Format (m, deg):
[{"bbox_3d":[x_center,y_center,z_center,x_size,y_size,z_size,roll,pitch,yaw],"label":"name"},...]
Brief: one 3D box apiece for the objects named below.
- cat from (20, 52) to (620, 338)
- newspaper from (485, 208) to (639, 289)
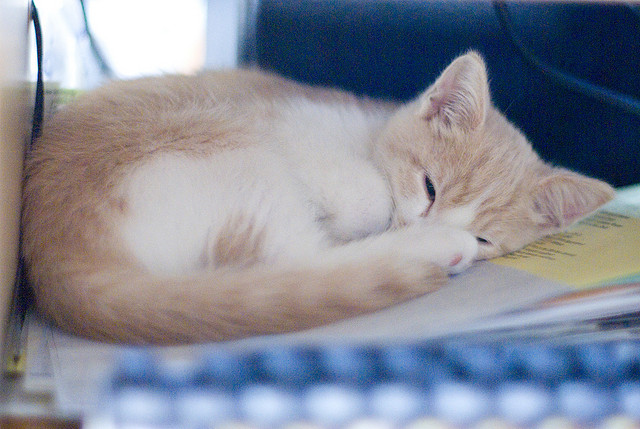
[{"bbox_3d":[-0.026,-0.007,1.747,1.064,0.322,0.599,-1,32,-2],"label":"cat"},{"bbox_3d":[0.546,0.076,1.767,0.186,0.031,0.210,-21,26,-20],"label":"newspaper"}]
